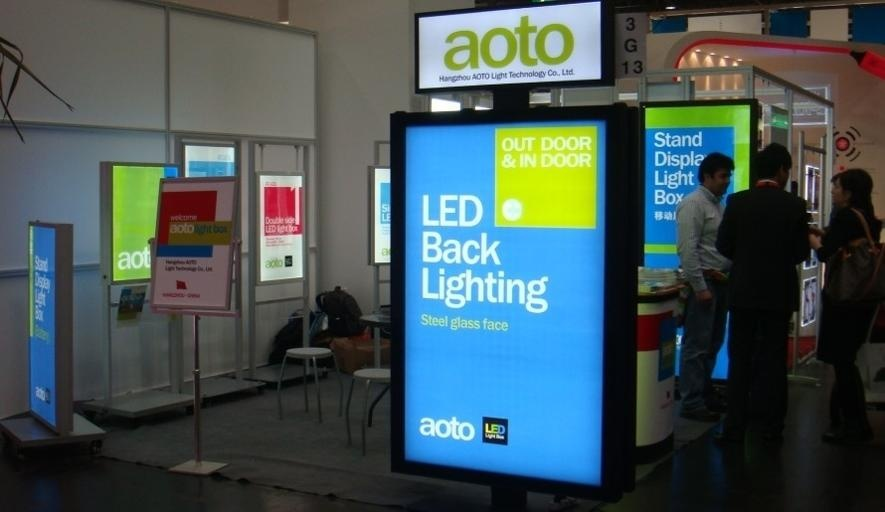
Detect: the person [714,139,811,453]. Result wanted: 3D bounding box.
[{"bbox_3d":[2.966,0.389,6.712,0.884,2.776,0.618,-8,14,-27],"label":"person"}]
